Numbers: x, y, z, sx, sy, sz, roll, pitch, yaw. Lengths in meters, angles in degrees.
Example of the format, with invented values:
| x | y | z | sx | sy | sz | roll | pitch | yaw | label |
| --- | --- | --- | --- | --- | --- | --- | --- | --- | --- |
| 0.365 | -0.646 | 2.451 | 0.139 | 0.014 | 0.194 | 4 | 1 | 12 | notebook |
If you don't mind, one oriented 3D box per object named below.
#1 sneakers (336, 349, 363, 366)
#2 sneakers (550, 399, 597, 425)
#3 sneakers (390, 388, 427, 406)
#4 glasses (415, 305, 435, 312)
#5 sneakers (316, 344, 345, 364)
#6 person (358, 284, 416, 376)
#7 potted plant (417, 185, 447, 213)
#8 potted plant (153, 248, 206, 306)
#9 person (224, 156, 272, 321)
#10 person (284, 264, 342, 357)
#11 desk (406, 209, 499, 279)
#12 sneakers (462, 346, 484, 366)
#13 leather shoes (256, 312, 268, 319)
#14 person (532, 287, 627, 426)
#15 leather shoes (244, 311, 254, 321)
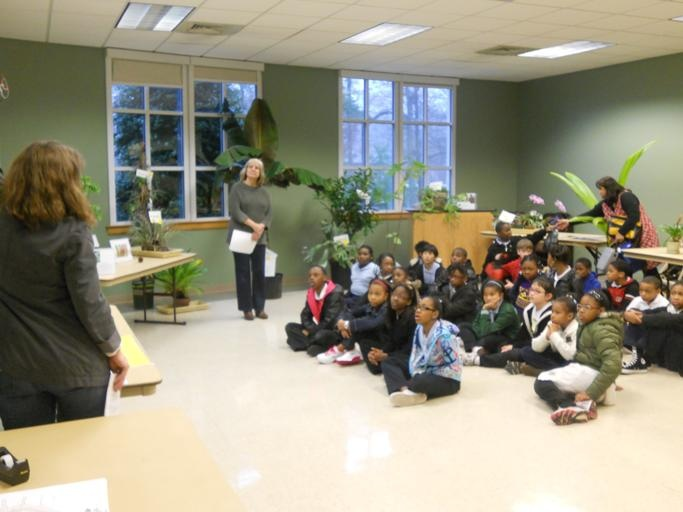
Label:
| x | y | z | sx | sy | sz | roll | pitch | yaw | label |
| --- | --- | --- | --- | --- | --- | --- | --- | --- | --- |
| 0.083 | 0.863 | 4.382 | 0.247 | 0.130 | 0.100 | 1 | -1 | -35 | sneakers |
| 1.485 | 0.984 | 3.285 | 0.306 | 0.135 | 0.132 | -3 | 31 | -3 | sneakers |
| 0.472 | 0.968 | 3.561 | 0.230 | 0.103 | 0.156 | 5 | 12 | -10 | sneakers |
| 0.593 | 0.359 | 3.513 | 0.123 | 0.038 | 0.048 | 6 | 10 | 9 | glasses |
| -0.076 | 0.833 | 4.382 | 0.257 | 0.112 | 0.109 | -7 | 4 | -28 | sneakers |
| 0.464 | 0.619 | 4.074 | 0.491 | 0.741 | 0.359 | -9 | 9 | -18 | person |
| 1.398 | -0.833 | 7.567 | 0.395 | 0.401 | 0.413 | 0 | 0 | 33 | potted plant |
| -1.971 | 0.282 | 6.414 | 0.624 | 0.684 | 0.672 | -2 | -6 | -6 | potted plant |
| -1.007 | -0.179 | 5.696 | 0.488 | 1.759 | 0.515 | -2 | 11 | -31 | person |
| -0.213 | 0.486 | 4.710 | 0.565 | 0.761 | 0.569 | -1 | 3 | -16 | person |
| 1.507 | -0.162 | 6.778 | 0.953 | 0.902 | 0.307 | -1 | 1 | -22 | desk |
| 1.118 | 0.846 | 4.324 | 0.116 | 0.151 | 0.342 | 0 | -6 | -21 | sneakers |
| -0.879 | 0.663 | 5.743 | 0.115 | 0.114 | 0.056 | 2 | 4 | 5 | leather shoes |
| 1.650 | 0.656 | 3.515 | 0.515 | 0.870 | 0.753 | 2 | -6 | 16 | person |
| -1.015 | 0.662 | 5.664 | 0.068 | 0.082 | 0.120 | 0 | -9 | -11 | leather shoes |
